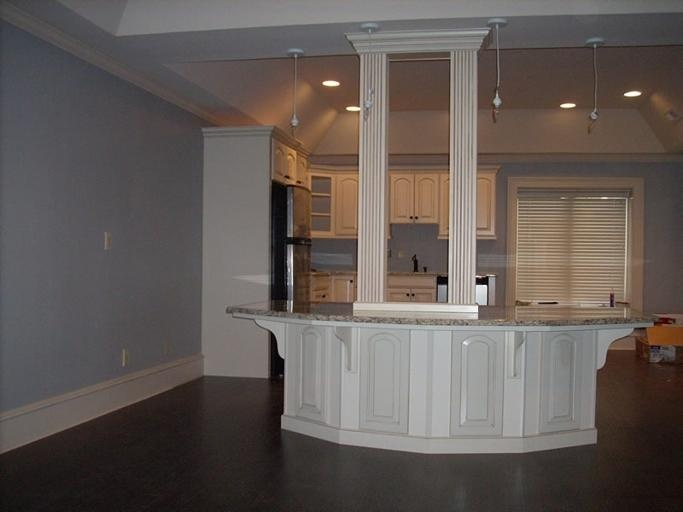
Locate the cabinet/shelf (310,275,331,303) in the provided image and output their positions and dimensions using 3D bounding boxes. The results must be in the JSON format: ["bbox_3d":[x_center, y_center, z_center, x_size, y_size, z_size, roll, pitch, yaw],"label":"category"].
[{"bbox_3d":[-0.299,0.428,7.607,0.223,0.394,0.406,-1,0,16],"label":"cabinet/shelf"}]

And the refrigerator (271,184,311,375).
[{"bbox_3d":[-0.584,-0.159,6.609,0.263,1.419,0.899,2,5,13],"label":"refrigerator"}]

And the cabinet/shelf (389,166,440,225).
[{"bbox_3d":[1.109,-0.911,8.463,0.737,0.784,0.188,0,5,-4],"label":"cabinet/shelf"}]

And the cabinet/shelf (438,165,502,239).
[{"bbox_3d":[1.893,-0.782,8.354,0.823,1.068,0.308,2,5,15],"label":"cabinet/shelf"}]

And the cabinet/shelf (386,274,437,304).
[{"bbox_3d":[1.029,0.443,7.970,0.488,0.455,0.191,0,-1,5],"label":"cabinet/shelf"}]

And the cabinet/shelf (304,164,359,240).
[{"bbox_3d":[-0.132,-0.827,8.274,1.270,1.209,0.424,-1,-3,19],"label":"cabinet/shelf"}]

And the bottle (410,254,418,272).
[{"bbox_3d":[1.158,0.091,8.743,0.109,0.252,0.105,1,5,0],"label":"bottle"}]

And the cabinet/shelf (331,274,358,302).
[{"bbox_3d":[0.048,0.468,8.566,0.439,0.633,0.379,0,-2,8],"label":"cabinet/shelf"}]

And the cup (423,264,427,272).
[{"bbox_3d":[1.299,0.187,8.696,0.077,0.102,0.071,0,3,0],"label":"cup"}]
